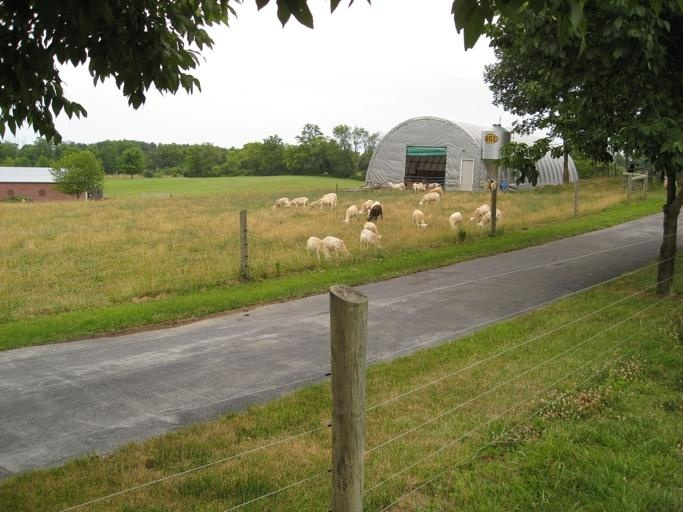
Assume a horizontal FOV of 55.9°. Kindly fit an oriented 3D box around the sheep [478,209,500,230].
[{"bbox_3d":[6.982,-1.772,30.474,1.264,0.683,0.367,-38,44,-27],"label":"sheep"}]

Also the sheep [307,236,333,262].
[{"bbox_3d":[-0.892,-0.301,23.512,1.338,0.775,0.441,30,29,34],"label":"sheep"}]

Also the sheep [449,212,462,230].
[{"bbox_3d":[5.294,-1.704,29.990,0.540,0.684,1.335,-1,9,9],"label":"sheep"}]

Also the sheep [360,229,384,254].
[{"bbox_3d":[1.147,-0.603,24.913,0.890,0.695,1.881,-2,9,2],"label":"sheep"}]
